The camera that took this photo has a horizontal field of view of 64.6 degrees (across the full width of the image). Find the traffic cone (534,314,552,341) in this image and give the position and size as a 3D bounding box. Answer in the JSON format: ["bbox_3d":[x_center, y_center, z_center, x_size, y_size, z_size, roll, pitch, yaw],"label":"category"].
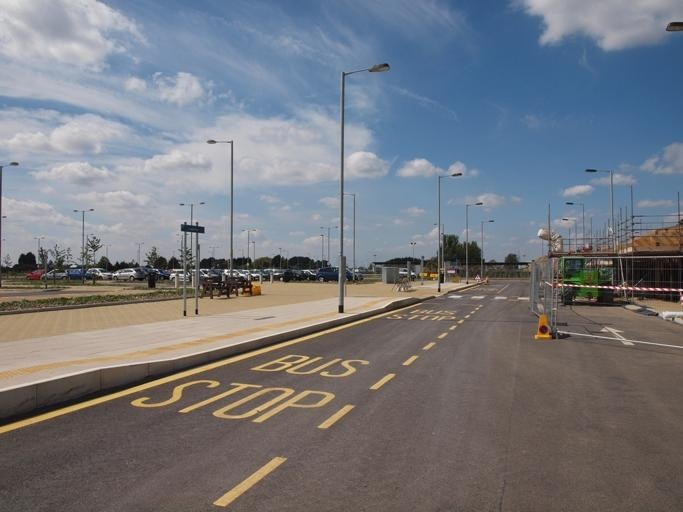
[{"bbox_3d":[5.617,1.986,15.158,0.672,0.879,0.619,0,-3,10],"label":"traffic cone"}]

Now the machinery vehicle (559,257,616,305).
[{"bbox_3d":[12.621,1.310,27.969,1.971,2.630,4.195,-1,-6,11],"label":"machinery vehicle"}]
